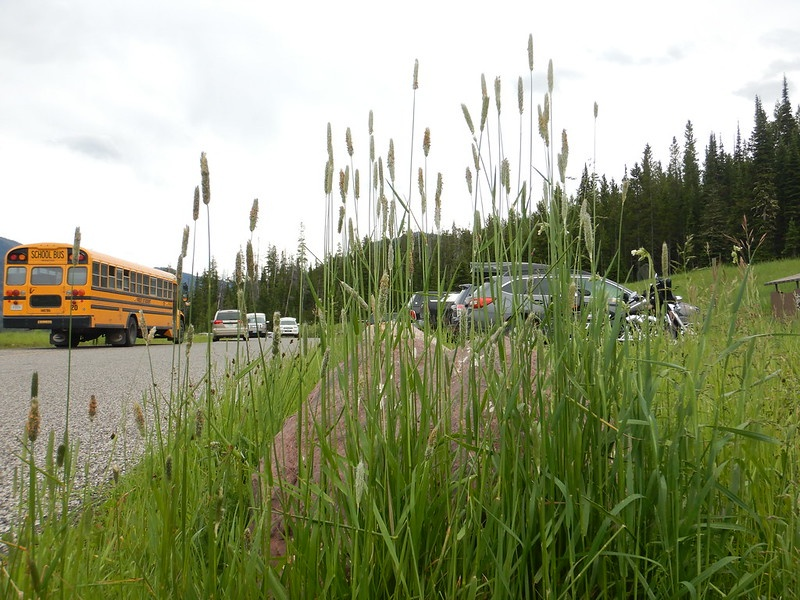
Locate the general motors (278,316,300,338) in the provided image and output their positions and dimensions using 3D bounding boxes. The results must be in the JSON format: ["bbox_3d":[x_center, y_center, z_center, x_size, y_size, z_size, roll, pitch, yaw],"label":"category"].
[{"bbox_3d":[-3.514,0.883,21.758,0.634,0.802,1.645,-1,-12,-6],"label":"general motors"}]

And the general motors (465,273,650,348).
[{"bbox_3d":[0.644,-0.012,2.982,0.639,0.303,0.335,-5,0,-8],"label":"general motors"}]
